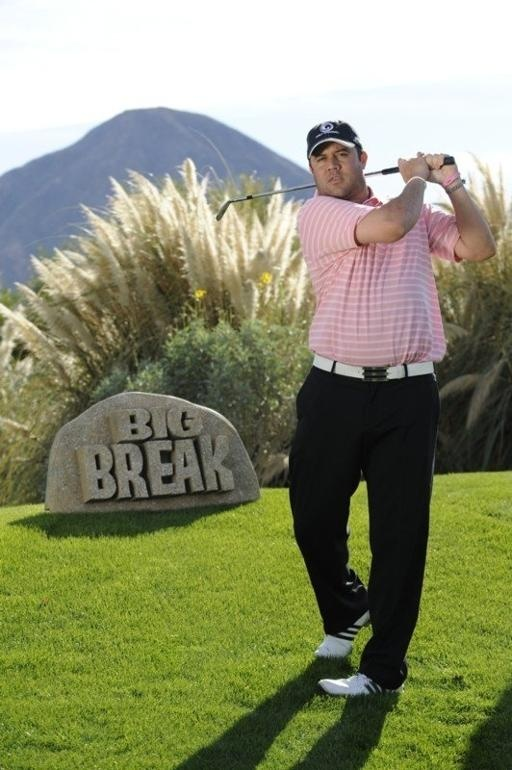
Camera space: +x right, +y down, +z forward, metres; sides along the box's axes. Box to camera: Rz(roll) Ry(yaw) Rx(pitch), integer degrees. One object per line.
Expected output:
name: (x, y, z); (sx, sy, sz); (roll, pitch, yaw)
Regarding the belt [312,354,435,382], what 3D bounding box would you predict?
belt: (0.395, -0.061, 2.626); (0.436, 0.086, 0.163); (0, 6, 16)
